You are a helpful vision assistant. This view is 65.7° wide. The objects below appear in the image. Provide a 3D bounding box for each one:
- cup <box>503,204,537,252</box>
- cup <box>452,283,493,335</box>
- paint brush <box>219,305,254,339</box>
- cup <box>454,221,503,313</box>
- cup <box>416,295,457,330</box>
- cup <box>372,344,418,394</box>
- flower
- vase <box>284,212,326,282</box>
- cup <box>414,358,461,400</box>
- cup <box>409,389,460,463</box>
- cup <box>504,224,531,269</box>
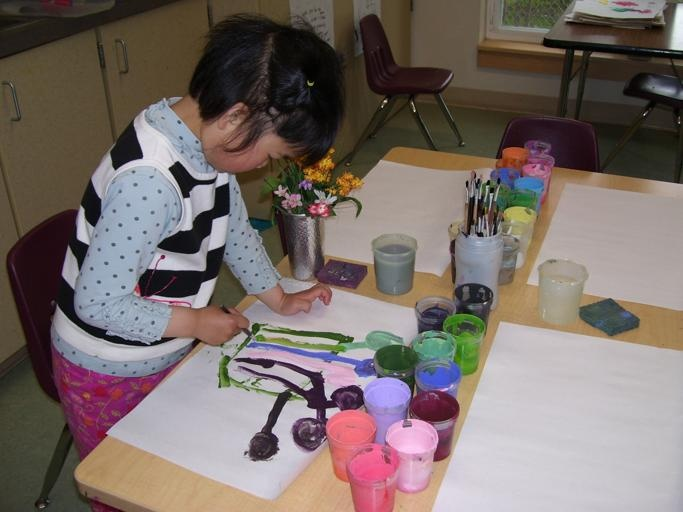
[{"bbox_3d":[0.467,-0.063,1.464,0.097,0.120,0.111,-2,39,8],"label":"cup"},{"bbox_3d":[0.289,0.112,1.172,0.081,0.092,0.085,-4,34,3],"label":"cup"},{"bbox_3d":[-0.230,0.150,1.162,0.013,0.089,0.016,-47,25,-14],"label":"paint brush"},{"bbox_3d":[0.310,0.024,1.233,0.120,0.206,0.130,-3,37,3],"label":"cup"},{"bbox_3d":[0.209,0.124,1.149,0.074,0.058,0.077,-1,38,1],"label":"cup"},{"bbox_3d":[0.105,0.212,1.067,0.081,0.087,0.084,-3,48,3],"label":"cup"},{"bbox_3d":[-0.099,-0.157,1.394,0.192,0.116,0.195,-30,62,-26],"label":"flower"},{"bbox_3d":[-0.091,-0.035,1.380,0.102,0.176,0.111,8,25,20],"label":"vase"},{"bbox_3d":[0.177,0.224,0.986,0.071,0.055,0.072,-2,40,2],"label":"cup"},{"bbox_3d":[0.151,0.293,0.955,0.103,0.117,0.109,-3,34,2],"label":"cup"},{"bbox_3d":[0.449,-0.023,1.353,0.075,0.091,0.081,-4,36,3],"label":"cup"}]
